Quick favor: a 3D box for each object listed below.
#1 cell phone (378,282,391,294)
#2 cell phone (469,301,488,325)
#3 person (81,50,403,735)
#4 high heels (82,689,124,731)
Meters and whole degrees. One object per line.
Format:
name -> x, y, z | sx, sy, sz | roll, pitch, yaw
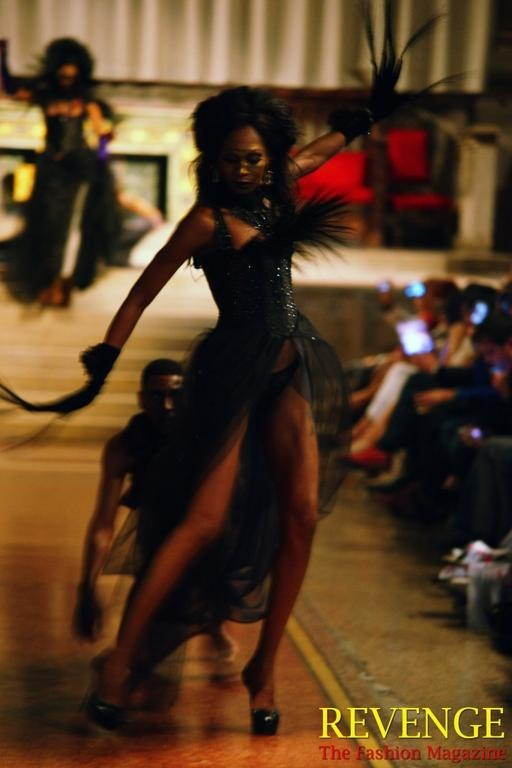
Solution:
cell phone -> 0.769, -0.568, 4.895 | 0.082, 0.043, 0.070 | 0, 9, 8
cell phone -> 1.061, -0.337, 3.883 | 0.080, 0.100, 0.035 | 28, 17, 37
person -> -0.057, 0.034, 2.171 | 0.572, 1.632, 0.670 | 3, 3, 10
high heels -> -0.358, 0.775, 1.959 | 0.089, 0.107, 0.101 | 2, 2, -9
